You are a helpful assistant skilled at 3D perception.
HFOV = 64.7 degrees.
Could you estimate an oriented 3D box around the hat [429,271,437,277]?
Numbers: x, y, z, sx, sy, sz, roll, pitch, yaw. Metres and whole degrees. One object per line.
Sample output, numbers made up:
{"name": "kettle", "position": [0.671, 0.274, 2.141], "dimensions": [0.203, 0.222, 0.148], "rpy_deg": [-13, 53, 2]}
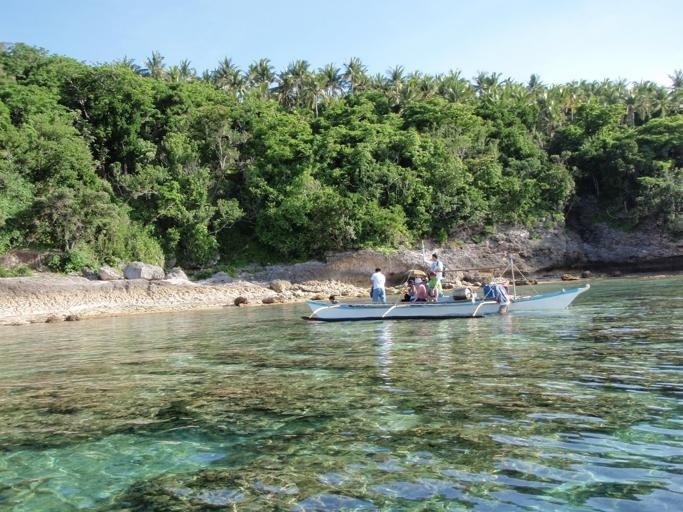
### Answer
{"name": "hat", "position": [3.441, 0.671, 20.536], "dimensions": [0.133, 0.164, 0.260], "rpy_deg": [-6, 4, -33]}

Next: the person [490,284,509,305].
{"name": "person", "position": [6.090, 1.450, 20.788], "dimensions": [0.872, 0.836, 0.370], "rpy_deg": [-6, 5, -43]}
